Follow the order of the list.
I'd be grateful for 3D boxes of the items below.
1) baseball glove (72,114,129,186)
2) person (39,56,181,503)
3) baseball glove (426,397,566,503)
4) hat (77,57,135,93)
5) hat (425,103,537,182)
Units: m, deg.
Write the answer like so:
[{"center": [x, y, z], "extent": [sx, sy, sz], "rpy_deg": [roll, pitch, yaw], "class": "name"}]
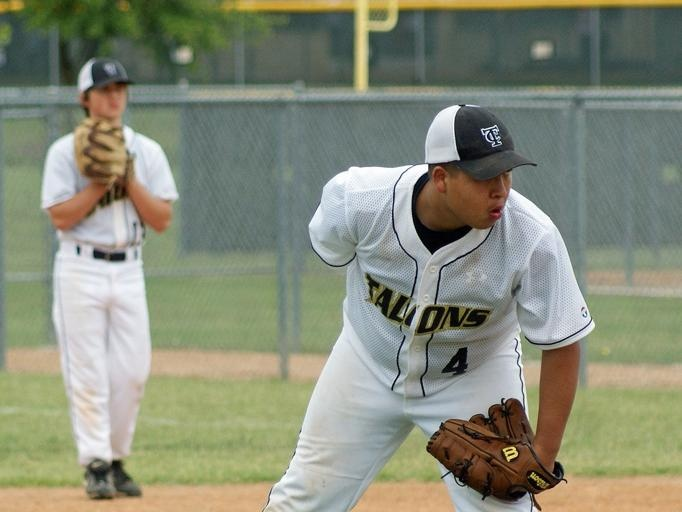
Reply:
[{"center": [-1.487, -0.689, 8.063], "extent": [0.295, 0.407, 0.167], "rpy_deg": [0, -20, -29], "class": "baseball glove"}, {"center": [-1.439, 0.140, 8.249], "extent": [0.745, 2.793, 0.547], "rpy_deg": [-8, 12, -36], "class": "person"}, {"center": [0.884, 1.131, 7.282], "extent": [0.739, 0.616, 0.283], "rpy_deg": [4, 11, 26], "class": "baseball glove"}, {"center": [-1.517, -1.163, 8.199], "extent": [0.204, 0.167, 0.274], "rpy_deg": [-14, 7, -36], "class": "hat"}, {"center": [0.774, -0.667, 7.221], "extent": [0.437, 0.353, 0.666], "rpy_deg": [-13, 20, -39], "class": "hat"}]
